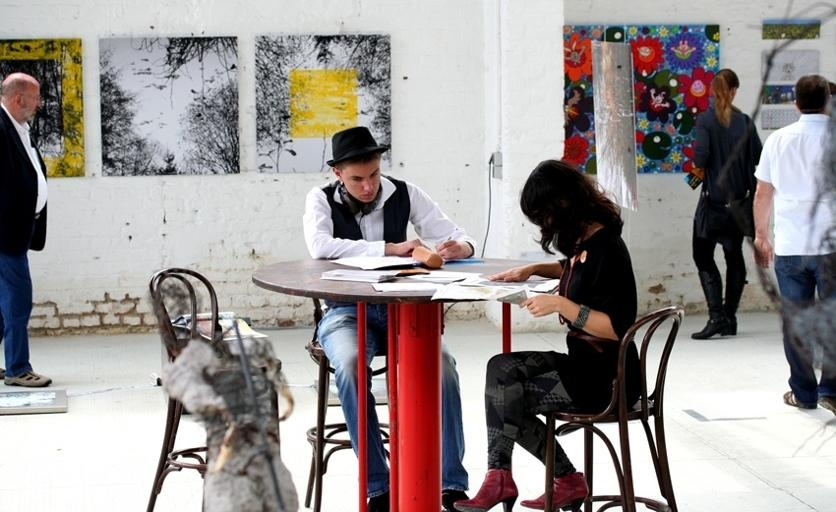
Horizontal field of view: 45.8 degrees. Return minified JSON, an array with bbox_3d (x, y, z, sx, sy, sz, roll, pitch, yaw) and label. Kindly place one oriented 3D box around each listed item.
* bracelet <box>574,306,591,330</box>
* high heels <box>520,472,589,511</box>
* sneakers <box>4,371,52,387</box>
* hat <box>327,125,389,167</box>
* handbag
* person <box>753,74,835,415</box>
[{"bbox_3d":[0.868,0.325,5.230,0.091,0.120,0.037,-3,7,3],"label":"bracelet"},{"bbox_3d":[0.806,1.316,5.555,0.426,0.207,0.162,-2,-5,-2],"label":"high heels"},{"bbox_3d":[-2.890,0.907,7.425,0.345,0.155,0.126,-1,4,-7],"label":"sneakers"},{"bbox_3d":[-0.386,-0.619,5.969,0.242,0.113,0.288,-21,2,-35],"label":"hat"},{"bbox_3d":[1.254,-0.302,3.792,0.206,0.468,0.092,-7,8,-30],"label":"handbag"},{"bbox_3d":[1.446,-0.258,3.814,0.273,0.854,0.294,0,8,22],"label":"person"}]
